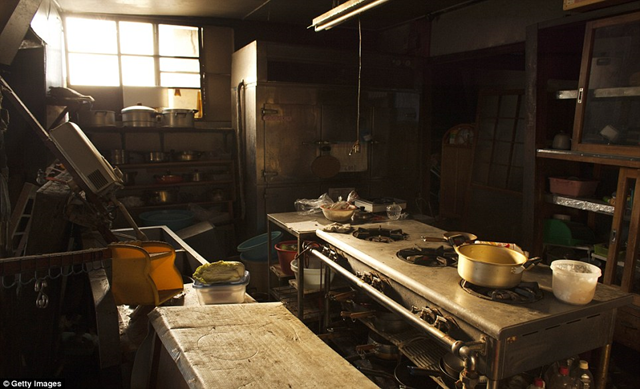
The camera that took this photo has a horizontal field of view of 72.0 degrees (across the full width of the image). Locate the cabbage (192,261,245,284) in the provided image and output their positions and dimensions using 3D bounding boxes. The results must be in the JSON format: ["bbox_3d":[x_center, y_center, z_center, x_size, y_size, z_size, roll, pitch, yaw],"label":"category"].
[{"bbox_3d":[-0.884,0.678,3.845,0.318,0.111,0.226,-1,2,-20],"label":"cabbage"}]

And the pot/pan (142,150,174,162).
[{"bbox_3d":[-2.715,-0.621,7.383,0.214,0.115,0.345,2,3,32],"label":"pot/pan"}]

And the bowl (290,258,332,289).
[{"bbox_3d":[-0.122,0.948,5.252,0.423,0.228,0.397,0,-6,0],"label":"bowl"}]

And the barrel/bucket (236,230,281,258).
[{"bbox_3d":[-0.870,0.742,6.254,0.462,0.170,0.466,-19,-5,-2],"label":"barrel/bucket"}]

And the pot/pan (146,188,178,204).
[{"bbox_3d":[-2.677,0.042,7.476,0.263,0.259,0.477,4,12,32],"label":"pot/pan"}]

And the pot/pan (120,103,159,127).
[{"bbox_3d":[-2.952,-1.248,7.080,0.459,0.246,0.427,0,2,-4],"label":"pot/pan"}]

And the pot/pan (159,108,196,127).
[{"bbox_3d":[-2.374,-1.247,7.317,0.357,0.182,0.538,0,3,-20],"label":"pot/pan"}]

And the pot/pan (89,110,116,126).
[{"bbox_3d":[-3.485,-1.202,7.017,0.303,0.160,0.282,0,-1,-3],"label":"pot/pan"}]

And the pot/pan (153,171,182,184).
[{"bbox_3d":[-2.591,-0.282,7.425,0.433,0.186,0.404,-7,11,-22],"label":"pot/pan"}]

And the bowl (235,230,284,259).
[{"bbox_3d":[-0.874,0.743,6.233,0.482,0.169,0.456,-16,2,1],"label":"bowl"}]

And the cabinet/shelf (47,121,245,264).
[{"bbox_3d":[-2.648,0.051,7.203,2.482,2.040,0.673,-1,-9,-23],"label":"cabinet/shelf"}]

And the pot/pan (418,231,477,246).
[{"bbox_3d":[1.328,0.443,4.359,0.405,0.054,0.214,-4,5,-23],"label":"pot/pan"}]

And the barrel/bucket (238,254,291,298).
[{"bbox_3d":[-0.776,1.137,6.064,0.604,0.380,0.576,1,2,0],"label":"barrel/bucket"}]

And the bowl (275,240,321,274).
[{"bbox_3d":[-0.285,0.745,5.503,0.523,0.294,0.488,0,7,0],"label":"bowl"}]

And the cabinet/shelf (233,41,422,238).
[{"bbox_3d":[0.040,-0.823,7.067,3.903,3.358,1.409,-2,5,-21],"label":"cabinet/shelf"}]

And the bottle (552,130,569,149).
[{"bbox_3d":[2.773,-0.618,5.033,0.218,0.211,0.211,6,4,20],"label":"bottle"}]

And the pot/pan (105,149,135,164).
[{"bbox_3d":[-3.308,-0.593,7.244,0.313,0.174,0.311,2,5,33],"label":"pot/pan"}]
